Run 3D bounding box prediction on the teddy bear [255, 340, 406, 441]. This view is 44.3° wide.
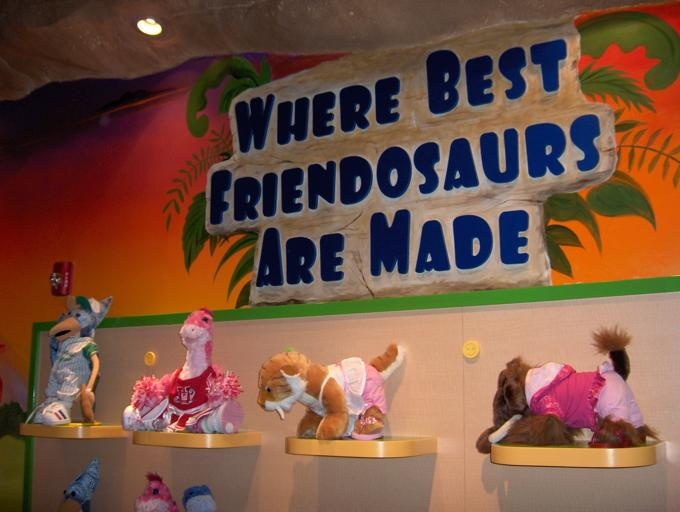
[{"bbox_3d":[-0.018,0.569,3.364,0.599,0.423,0.418,3,-16,-16],"label":"teddy bear"}]

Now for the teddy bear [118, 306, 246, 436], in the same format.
[{"bbox_3d":[-0.646,0.490,3.535,0.488,0.533,0.360,0,-5,16],"label":"teddy bear"}]

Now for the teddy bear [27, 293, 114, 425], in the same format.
[{"bbox_3d":[-1.281,0.509,3.995,0.283,0.657,0.300,-26,-35,33],"label":"teddy bear"}]

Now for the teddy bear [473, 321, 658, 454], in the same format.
[{"bbox_3d":[0.838,0.536,3.188,0.569,0.429,0.394,-6,-25,24],"label":"teddy bear"}]
